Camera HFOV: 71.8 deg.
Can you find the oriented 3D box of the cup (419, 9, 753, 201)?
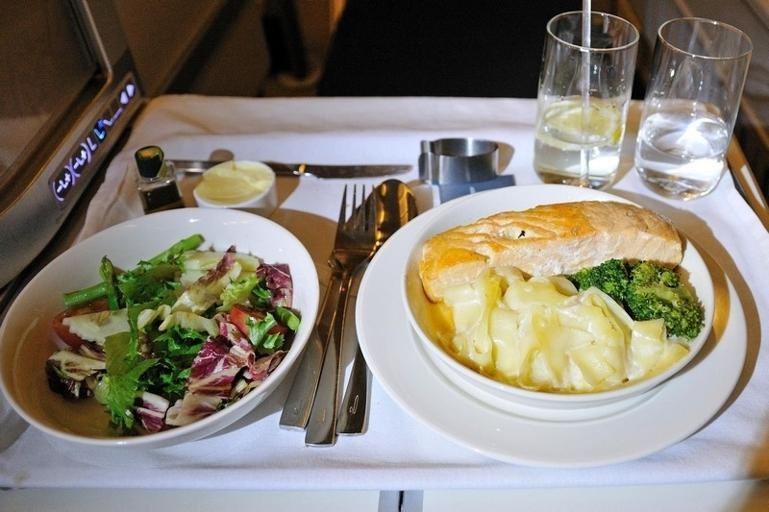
[{"bbox_3d":[0.647,-0.416,1.339,0.502,0.371,0.402,5,52,8],"label":"cup"}]

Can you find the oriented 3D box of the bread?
[{"bbox_3d":[0.342,-0.027,1.096,0.596,0.183,0.187,-11,15,-3],"label":"bread"}]

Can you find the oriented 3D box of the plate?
[{"bbox_3d":[0.340,0.118,1.071,0.796,0.142,0.584,2,52,5],"label":"plate"}]

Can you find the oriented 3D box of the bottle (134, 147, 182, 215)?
[{"bbox_3d":[-0.567,-0.186,1.350,0.100,0.178,0.103,6,27,-3],"label":"bottle"}]

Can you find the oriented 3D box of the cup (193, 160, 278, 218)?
[{"bbox_3d":[-0.385,-0.192,1.413,0.175,0.154,0.203,10,26,28],"label":"cup"}]
